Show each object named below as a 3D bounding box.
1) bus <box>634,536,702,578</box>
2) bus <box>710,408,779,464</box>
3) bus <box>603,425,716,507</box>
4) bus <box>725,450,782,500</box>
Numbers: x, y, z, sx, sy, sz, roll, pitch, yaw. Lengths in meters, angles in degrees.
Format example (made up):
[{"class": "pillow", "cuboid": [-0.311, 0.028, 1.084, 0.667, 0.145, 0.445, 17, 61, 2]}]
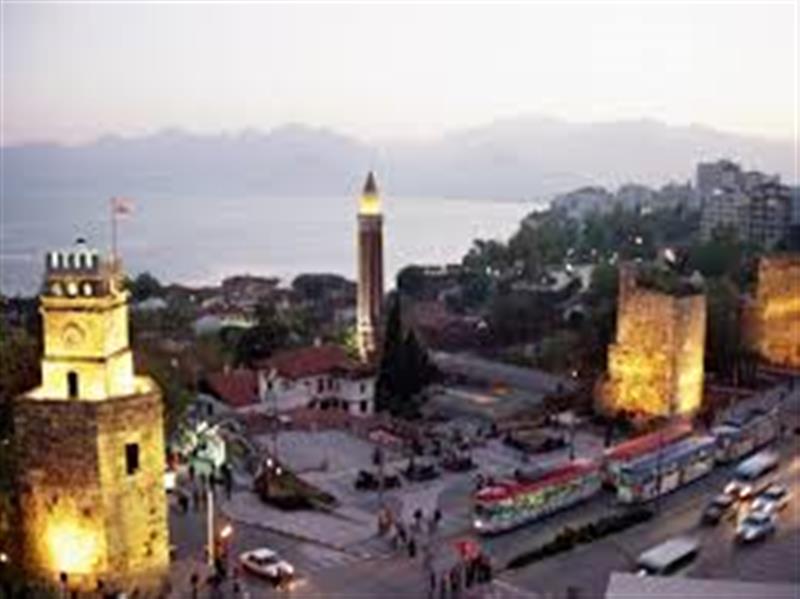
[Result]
[{"class": "bus", "cuboid": [12.045, 11.817, 41.261, 3.550, 0.908, 1.423, -7, 7, -40]}, {"class": "bus", "cuboid": [21.262, 8.307, 56.056, 1.901, 1.971, 6.173, 7, 14, 43]}, {"class": "bus", "cuboid": [15.313, 9.545, 51.913, 7.854, 2.636, 2.153, -8, 7, -43]}, {"class": "bus", "cuboid": [19.415, 9.693, 50.221, 1.464, 1.745, 4.588, 3, 6, 38]}]
